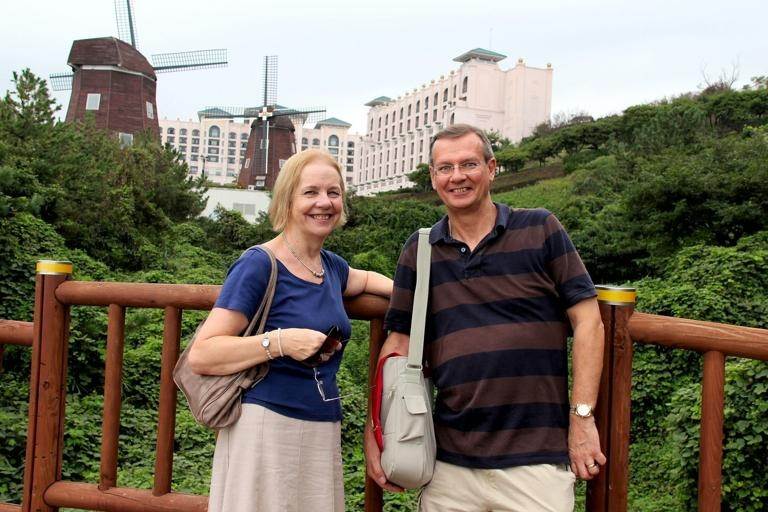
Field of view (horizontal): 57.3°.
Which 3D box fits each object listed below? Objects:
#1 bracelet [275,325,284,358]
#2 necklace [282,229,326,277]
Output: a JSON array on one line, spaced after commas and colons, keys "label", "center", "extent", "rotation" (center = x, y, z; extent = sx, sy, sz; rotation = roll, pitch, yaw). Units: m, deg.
[{"label": "bracelet", "center": [-0.664, 0.565, 4.502], "extent": [0.046, 0.173, 0.049], "rotation": [-1, 2, -11]}, {"label": "necklace", "center": [-0.532, 0.011, 4.668], "extent": [0.045, 0.313, 0.213], "rotation": [-26, 8, 38]}]
